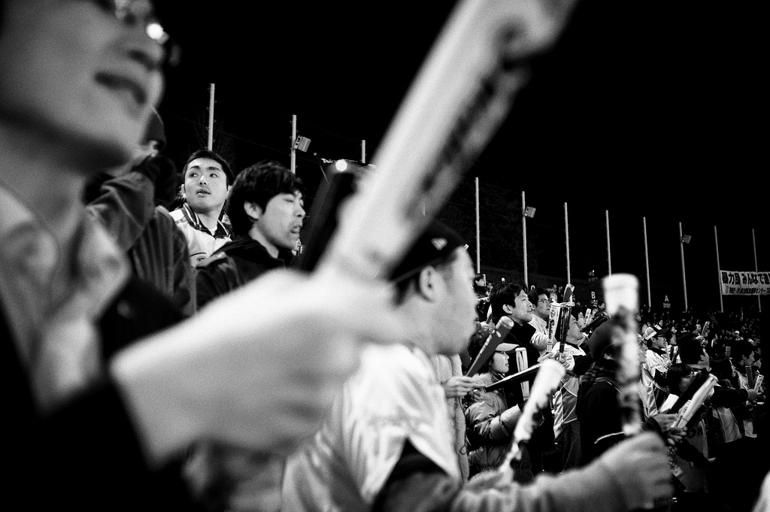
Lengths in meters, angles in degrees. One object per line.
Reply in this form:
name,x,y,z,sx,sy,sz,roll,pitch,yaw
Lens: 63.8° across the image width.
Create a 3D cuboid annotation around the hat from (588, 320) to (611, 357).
hat,1.691,0.650,4.843,0.154,0.332,0.800,3,-4,18
